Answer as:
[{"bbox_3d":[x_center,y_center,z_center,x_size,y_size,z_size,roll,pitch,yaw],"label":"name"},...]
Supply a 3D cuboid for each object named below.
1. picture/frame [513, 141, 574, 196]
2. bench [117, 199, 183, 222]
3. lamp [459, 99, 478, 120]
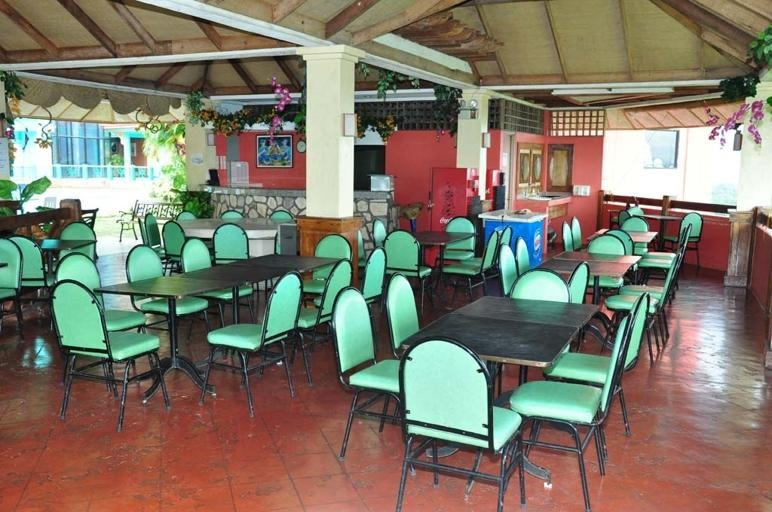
[{"bbox_3d":[4.034,-2.284,14.272,0.801,1.005,1.651,4,8,37],"label":"picture/frame"},{"bbox_3d":[-5.868,-1.130,13.968,1.798,0.705,0.534,2,5,17],"label":"bench"},{"bbox_3d":[1.634,-2.899,11.046,0.133,0.400,0.406,-12,15,-43],"label":"lamp"}]
